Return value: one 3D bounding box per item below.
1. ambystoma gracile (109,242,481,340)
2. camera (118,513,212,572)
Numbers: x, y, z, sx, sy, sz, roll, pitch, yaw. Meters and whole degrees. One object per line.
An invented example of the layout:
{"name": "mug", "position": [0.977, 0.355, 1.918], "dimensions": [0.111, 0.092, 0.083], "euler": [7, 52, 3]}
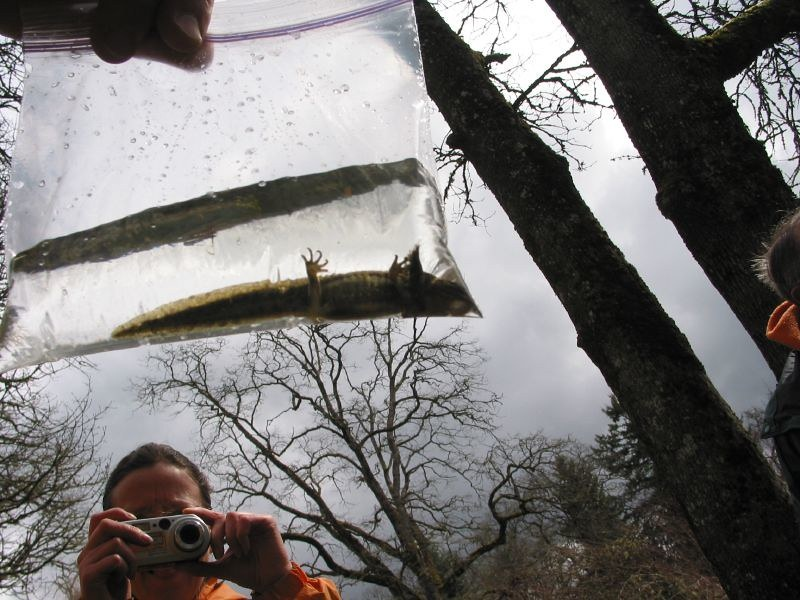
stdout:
{"name": "ambystoma gracile", "position": [-0.512, 0.042, 4.328], "dimensions": [1.880, 0.514, 0.255], "euler": [-16, -26, -6]}
{"name": "camera", "position": [-1.263, 1.329, 4.408], "dimensions": [0.340, 0.300, 0.137], "euler": [-3, -9, -4]}
